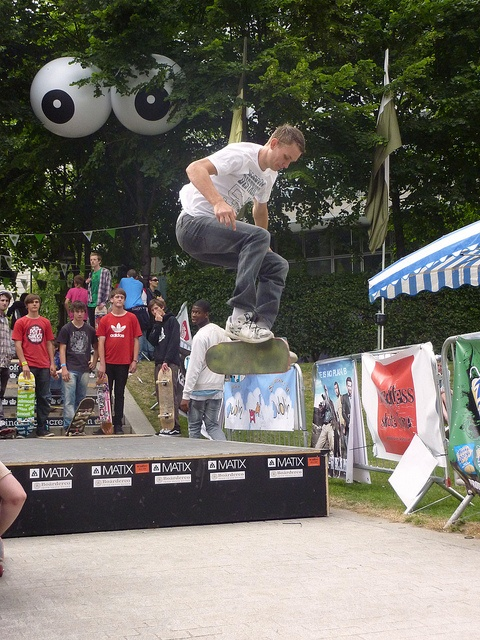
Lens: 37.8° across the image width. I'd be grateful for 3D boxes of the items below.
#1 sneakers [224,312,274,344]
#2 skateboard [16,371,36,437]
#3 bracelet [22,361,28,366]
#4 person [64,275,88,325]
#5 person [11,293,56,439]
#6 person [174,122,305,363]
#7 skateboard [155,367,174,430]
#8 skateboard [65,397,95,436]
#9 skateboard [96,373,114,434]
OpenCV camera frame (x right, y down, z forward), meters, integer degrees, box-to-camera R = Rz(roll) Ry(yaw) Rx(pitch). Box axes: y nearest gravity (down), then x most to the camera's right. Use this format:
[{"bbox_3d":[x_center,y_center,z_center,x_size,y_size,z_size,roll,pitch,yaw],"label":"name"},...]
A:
[{"bbox_3d":[0.057,0.053,5.257,0.441,0.231,0.167,6,9,27],"label":"sneakers"},{"bbox_3d":[-2.970,1.176,9.741,0.242,0.982,0.095,0,-38,-15],"label":"skateboard"},{"bbox_3d":[-2.886,0.575,9.351,0.080,0.047,0.077,1,3,5],"label":"bracelet"},{"bbox_3d":[-3.115,-0.128,13.299,0.425,1.448,0.394,2,0,-22],"label":"person"},{"bbox_3d":[-2.793,0.618,9.553,0.490,1.935,0.825,0,-1,3],"label":"person"},{"bbox_3d":[-0.004,-0.712,5.248,0.959,1.753,1.256,0,-1,8],"label":"person"},{"bbox_3d":[-1.052,1.085,9.859,0.205,0.913,0.149,-7,-7,14],"label":"skateboard"},{"bbox_3d":[-2.116,1.286,9.299,0.214,0.128,0.925,0,-42,-28],"label":"skateboard"},{"bbox_3d":[-1.912,1.179,9.786,0.204,0.931,0.158,-2,16,6],"label":"skateboard"}]
